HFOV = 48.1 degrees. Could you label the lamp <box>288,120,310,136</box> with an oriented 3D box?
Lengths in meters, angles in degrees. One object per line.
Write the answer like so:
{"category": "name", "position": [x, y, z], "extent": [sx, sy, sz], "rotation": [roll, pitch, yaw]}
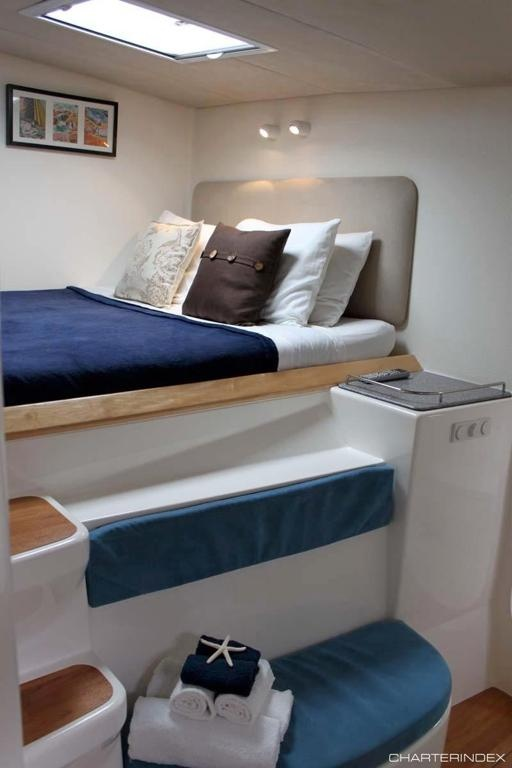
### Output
{"category": "lamp", "position": [0.205, -1.185, 2.674], "extent": [0.078, 0.063, 0.034], "rotation": [-3, 38, 9]}

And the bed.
{"category": "bed", "position": [0.003, -0.364, 2.090], "extent": [1.166, 0.728, 1.162], "rotation": [-7, 18, -32]}

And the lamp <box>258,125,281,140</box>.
{"category": "lamp", "position": [0.066, -1.255, 2.846], "extent": [0.088, 0.068, 0.051], "rotation": [0, 13, -14]}

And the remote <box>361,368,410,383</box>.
{"category": "remote", "position": [0.451, -0.023, 1.966], "extent": [0.245, 0.024, 0.088], "rotation": [-9, 18, -44]}
